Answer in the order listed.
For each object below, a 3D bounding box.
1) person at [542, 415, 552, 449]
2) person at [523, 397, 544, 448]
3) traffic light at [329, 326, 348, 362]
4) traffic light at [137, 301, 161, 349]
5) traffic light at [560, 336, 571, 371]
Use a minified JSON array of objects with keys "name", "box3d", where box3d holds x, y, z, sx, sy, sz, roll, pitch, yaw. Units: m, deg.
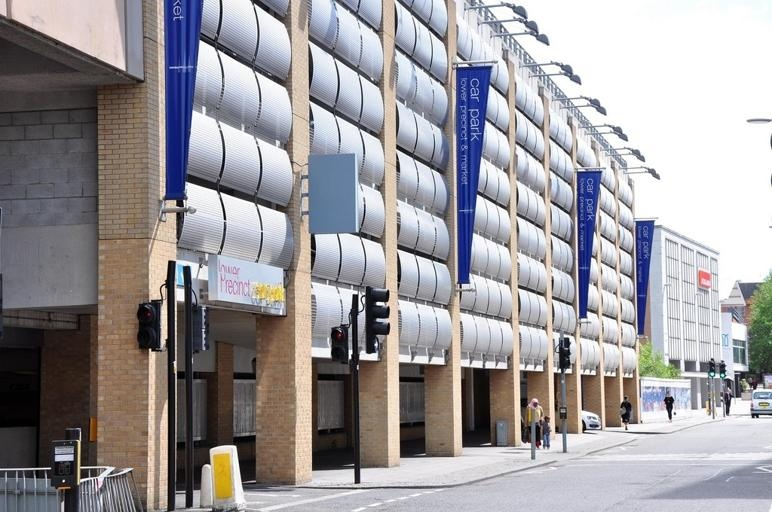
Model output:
[{"name":"person","box3d":[6.369,7.042,51.447,0.252,1.333,0.713,-3,-15,3]},{"name":"person","box3d":[5.853,6.586,51.036,0.687,2.193,0.626,-4,18,1]},{"name":"traffic light","box3d":[-1.297,2.457,36.474,0.456,1.039,0.506,-2,-15,-2]},{"name":"traffic light","box3d":[-5.782,1.621,31.705,0.564,1.270,0.827,0,-16,-10]},{"name":"traffic light","box3d":[6.760,3.622,49.075,0.406,1.320,1.240,-4,-16,6]}]
